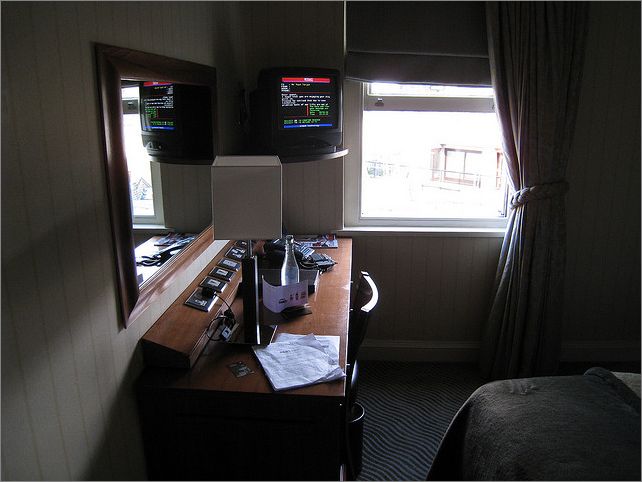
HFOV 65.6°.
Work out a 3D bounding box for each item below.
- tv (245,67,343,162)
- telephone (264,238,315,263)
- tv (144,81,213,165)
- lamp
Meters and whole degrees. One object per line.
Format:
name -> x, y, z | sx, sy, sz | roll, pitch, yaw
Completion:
tv -> -0.022, -0.843, 3.193 | 0.433, 0.505, 0.490 | 1, 16, 14
telephone -> -0.201, 0.057, 2.961 | 0.177, 0.077, 0.181 | 0, 22, 1
tv -> -0.666, -0.536, 2.228 | 0.279, 0.412, 0.288 | 1, -2, -21
lamp -> -0.311, 0.071, 2.129 | 0.356, 0.827, 0.369 | 12, 20, 35
